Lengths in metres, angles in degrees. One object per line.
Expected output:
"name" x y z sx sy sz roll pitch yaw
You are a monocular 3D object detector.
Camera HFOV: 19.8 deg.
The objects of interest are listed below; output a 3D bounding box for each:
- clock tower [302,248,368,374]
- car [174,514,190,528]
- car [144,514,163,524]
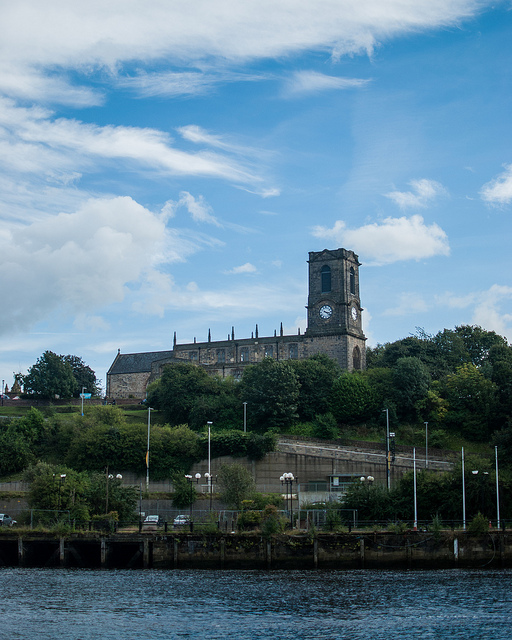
"clock tower" 9.572 -0.484 179.759 7.250 16.200 7.538 -1 -7 11
"car" -5.654 15.884 115.899 1.057 0.750 2.222 -1 -16 0
"car" -8.150 15.987 118.126 1.059 0.765 1.633 -2 -23 -1
